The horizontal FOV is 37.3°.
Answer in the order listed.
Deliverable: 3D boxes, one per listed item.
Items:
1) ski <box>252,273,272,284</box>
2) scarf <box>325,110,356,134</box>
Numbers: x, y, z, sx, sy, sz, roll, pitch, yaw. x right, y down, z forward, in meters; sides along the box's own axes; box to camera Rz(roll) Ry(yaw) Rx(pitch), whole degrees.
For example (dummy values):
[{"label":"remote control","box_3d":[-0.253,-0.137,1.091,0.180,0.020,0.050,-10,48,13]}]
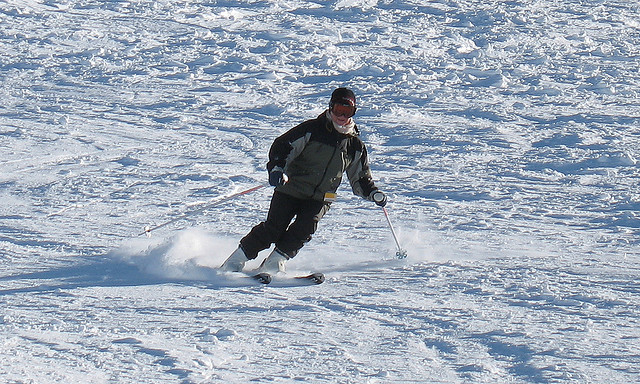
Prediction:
[{"label":"ski","box_3d":[-0.744,1.073,11.917,0.237,0.045,0.120,6,10,-8]},{"label":"scarf","box_3d":[0.248,-0.881,11.997,0.394,0.149,0.410,2,-15,31]}]
